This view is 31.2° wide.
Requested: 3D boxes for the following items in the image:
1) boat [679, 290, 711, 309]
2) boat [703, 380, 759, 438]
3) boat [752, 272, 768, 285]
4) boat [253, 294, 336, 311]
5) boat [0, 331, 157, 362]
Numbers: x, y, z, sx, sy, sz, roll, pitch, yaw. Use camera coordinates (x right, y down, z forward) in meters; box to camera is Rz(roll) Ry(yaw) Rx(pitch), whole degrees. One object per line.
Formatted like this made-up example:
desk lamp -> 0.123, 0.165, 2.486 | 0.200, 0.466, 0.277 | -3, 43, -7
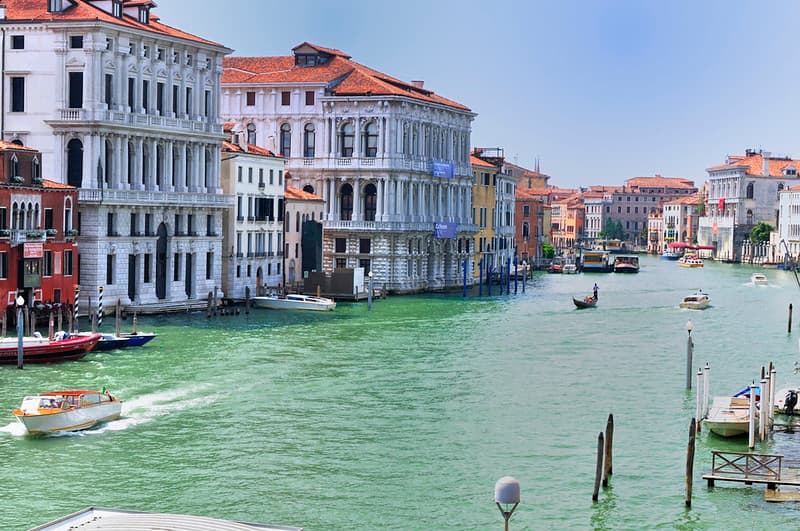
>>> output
boat -> 28.941, 3.442, 141.679 | 1.810, 1.670, 5.748 | 3, 6, 27
boat -> 19.316, 8.600, 84.032 | 3.038, 2.648, 6.122 | -1, 0, 12
boat -> 45.918, 1.820, 184.307 | 1.544, 0.929, 3.302 | 0, 12, 15
boat -> -9.556, 3.278, 128.839 | 7.872, 1.217, 2.287 | 2, -3, 10
boat -> -22.451, 5.528, 99.489 | 2.664, 2.154, 10.218 | -1, 0, 40
